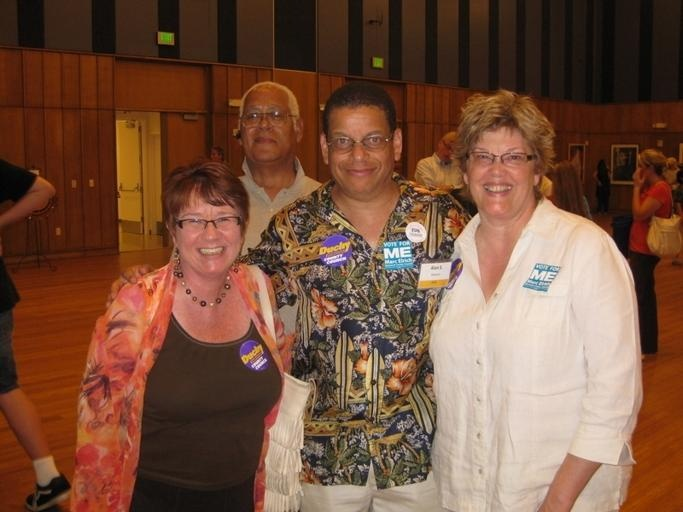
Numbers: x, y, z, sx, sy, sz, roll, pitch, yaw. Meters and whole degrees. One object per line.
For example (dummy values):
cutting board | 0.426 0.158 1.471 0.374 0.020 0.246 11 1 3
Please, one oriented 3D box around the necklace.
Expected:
necklace | -0.599 0.087 2.403 0.168 0.229 0.032 -4 4 -4

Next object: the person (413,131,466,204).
person | 1.473 -1.358 8.264 0.505 0.849 0.409 -16 6 -36
